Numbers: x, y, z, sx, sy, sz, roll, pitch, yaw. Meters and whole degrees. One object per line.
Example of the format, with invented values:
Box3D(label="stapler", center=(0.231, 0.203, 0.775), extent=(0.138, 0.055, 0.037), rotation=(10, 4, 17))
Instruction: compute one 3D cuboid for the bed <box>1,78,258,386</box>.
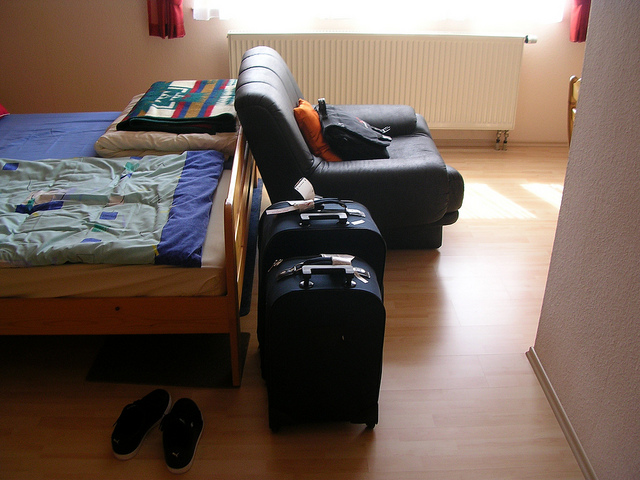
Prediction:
Box3D(label="bed", center=(-1.015, -0.090, 2.588), extent=(1.341, 0.933, 1.609), rotation=(-6, 28, -8))

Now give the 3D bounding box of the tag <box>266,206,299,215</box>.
Box3D(label="tag", center=(-0.156, -0.127, 2.142), extent=(0.061, 0.015, 0.063), rotation=(-10, 7, 16))

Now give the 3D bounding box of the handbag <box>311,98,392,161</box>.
Box3D(label="handbag", center=(0.174, -0.523, 2.880), extent=(0.414, 0.147, 0.408), rotation=(18, 36, -23))

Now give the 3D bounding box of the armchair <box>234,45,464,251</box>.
Box3D(label="armchair", center=(0.202, -0.580, 3.077), extent=(1.331, 0.869, 1.247), rotation=(6, 32, 6))

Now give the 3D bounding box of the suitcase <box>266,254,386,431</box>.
Box3D(label="suitcase", center=(0.024, 0.398, 2.085), extent=(0.478, 0.659, 0.380), rotation=(0, 18, -3))

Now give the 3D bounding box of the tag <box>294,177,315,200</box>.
Box3D(label="tag", center=(-0.065, -0.237, 2.201), extent=(0.074, 0.093, 0.170), rotation=(-2, 28, 0))
